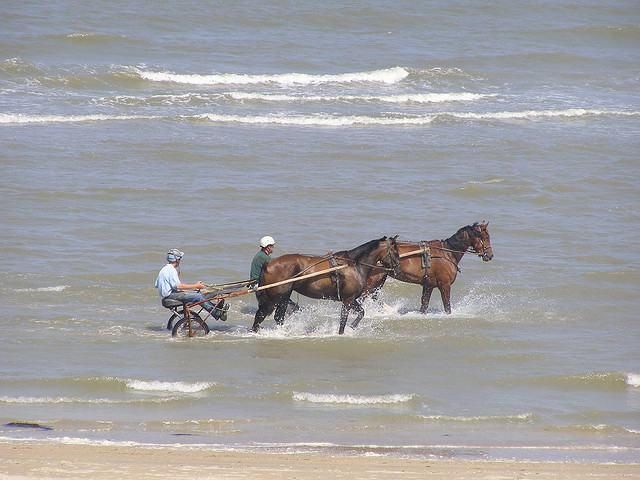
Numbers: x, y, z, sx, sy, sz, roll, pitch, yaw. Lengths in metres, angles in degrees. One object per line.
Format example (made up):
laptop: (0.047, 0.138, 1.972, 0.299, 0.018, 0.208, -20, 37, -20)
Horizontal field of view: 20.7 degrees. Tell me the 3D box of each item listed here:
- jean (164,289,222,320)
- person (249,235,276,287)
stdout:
jean: (-4.248, 2.038, 57.453, 3.155, 0.929, 0.665, -4, 14, -45)
person: (-1.918, 0.697, 57.615, 0.678, 1.572, 1.048, 4, 16, 0)
